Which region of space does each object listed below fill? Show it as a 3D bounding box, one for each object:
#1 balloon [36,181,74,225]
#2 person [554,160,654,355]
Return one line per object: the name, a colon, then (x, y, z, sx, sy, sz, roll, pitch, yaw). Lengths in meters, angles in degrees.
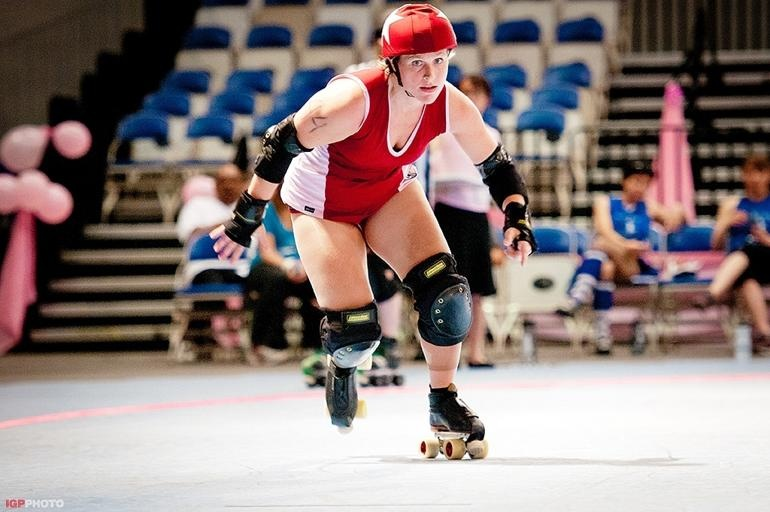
balloon: (-3.337, -0.516, 10.719, 0.493, 0.436, 0.240, -7, 2, -19)
person: (2.164, 0.031, 10.500, 0.887, 1.776, 0.607, 4, -20, -1)
